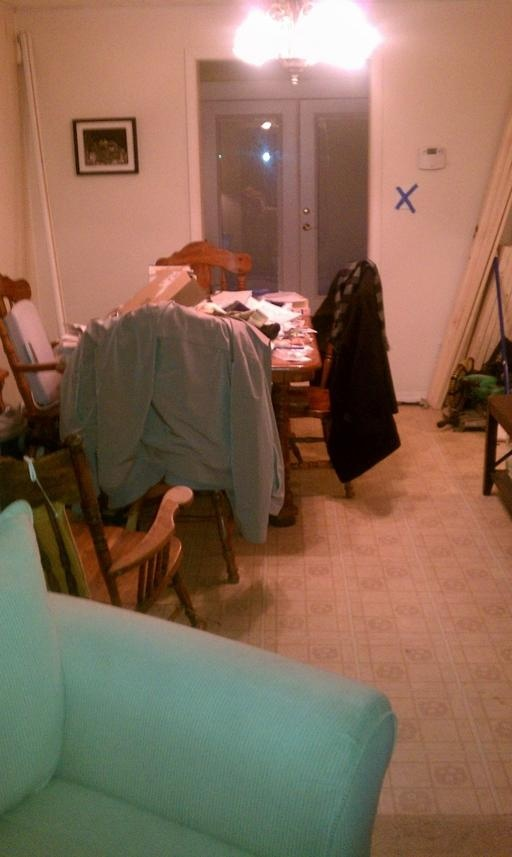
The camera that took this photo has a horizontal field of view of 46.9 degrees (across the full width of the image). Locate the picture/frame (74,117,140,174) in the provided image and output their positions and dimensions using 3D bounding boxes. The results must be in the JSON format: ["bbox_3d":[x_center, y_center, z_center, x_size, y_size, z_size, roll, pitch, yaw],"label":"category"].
[{"bbox_3d":[-0.992,-1.894,3.899,0.305,0.287,0.029,-1,17,-3],"label":"picture/frame"}]
